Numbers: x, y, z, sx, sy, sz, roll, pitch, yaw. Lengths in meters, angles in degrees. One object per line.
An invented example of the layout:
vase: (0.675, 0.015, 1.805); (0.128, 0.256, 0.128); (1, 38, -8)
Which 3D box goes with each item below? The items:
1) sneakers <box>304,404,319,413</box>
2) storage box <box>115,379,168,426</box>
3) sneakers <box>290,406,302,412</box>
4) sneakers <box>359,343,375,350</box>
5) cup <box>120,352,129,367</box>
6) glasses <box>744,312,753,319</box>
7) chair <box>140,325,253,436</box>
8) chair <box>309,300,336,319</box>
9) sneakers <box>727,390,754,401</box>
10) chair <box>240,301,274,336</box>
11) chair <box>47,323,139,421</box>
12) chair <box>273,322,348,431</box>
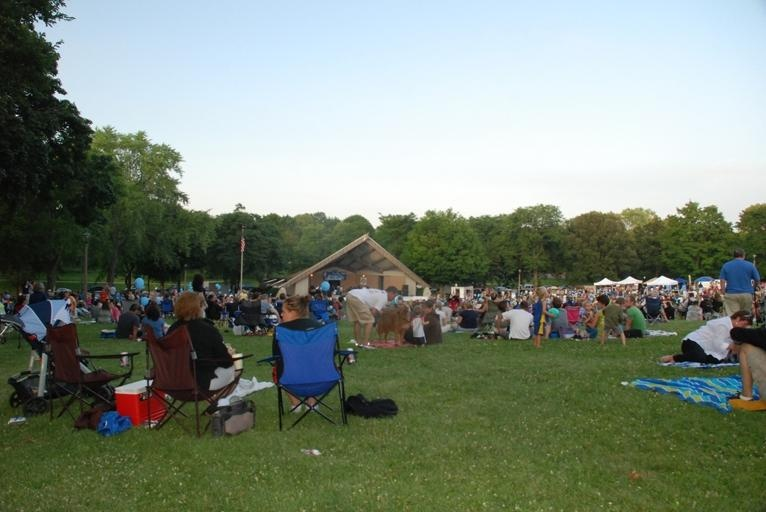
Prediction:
sneakers: (-1.370, 2.875, 11.849); (0.206, 0.190, 0.211); (-1, -20, -3)
storage box: (-4.378, 2.692, 11.348); (0.495, 0.702, 0.833); (-10, -5, 18)
sneakers: (-1.669, 2.981, 12.075); (0.135, 0.155, 0.175); (5, -18, -12)
sneakers: (-0.461, 2.628, 18.057); (0.163, 0.194, 0.492); (0, -9, -13)
cup: (-4.809, 1.938, 11.634); (0.118, 0.251, 0.360); (1, -5, -22)
glasses: (7.642, 1.241, 12.991); (0.188, 0.067, 0.151); (20, -11, 22)
chair: (-3.415, 2.229, 11.499); (1.833, 1.955, 1.753); (-2, -1, -18)
chair: (-2.026, 1.761, 19.974); (0.644, 0.550, 0.810); (12, -7, -11)
sneakers: (6.818, 2.669, 11.882); (0.379, 0.154, 0.141); (2, -1, 44)
chair: (-4.585, 2.127, 21.717); (1.091, 1.448, 1.173); (1, 4, -1)
chair: (-5.702, 2.299, 12.222); (1.755, 1.932, 1.741); (-1, -7, 2)
chair: (-1.391, 2.223, 11.711); (1.331, 1.894, 1.014); (0, -4, -15)
